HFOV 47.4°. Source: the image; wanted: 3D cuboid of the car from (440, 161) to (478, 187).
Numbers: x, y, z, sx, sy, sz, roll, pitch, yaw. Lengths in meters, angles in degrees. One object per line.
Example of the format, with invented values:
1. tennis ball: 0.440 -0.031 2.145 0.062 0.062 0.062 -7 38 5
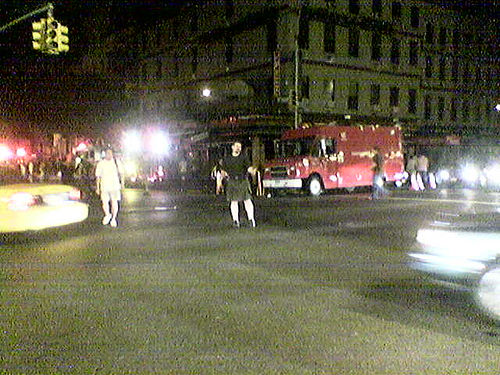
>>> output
1. car: 12.981 -0.711 35.501 2.092 1.265 2.172 -1 2 24

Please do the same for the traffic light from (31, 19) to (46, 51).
1. traffic light: -6.156 -4.522 16.754 0.371 0.973 0.400 -2 2 -22

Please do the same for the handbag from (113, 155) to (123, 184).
1. handbag: -3.419 -0.456 14.743 0.138 0.850 0.178 -3 13 34

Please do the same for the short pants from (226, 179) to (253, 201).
1. short pants: -0.284 0.051 13.929 0.623 0.683 0.419 1 16 0

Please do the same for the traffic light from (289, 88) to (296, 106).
1. traffic light: 2.133 -4.553 28.710 0.340 0.838 0.924 -1 2 4

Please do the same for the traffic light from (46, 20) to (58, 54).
1. traffic light: -5.856 -4.497 16.890 0.331 0.984 0.223 -3 2 -22

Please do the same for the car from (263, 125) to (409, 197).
1. car: 4.266 -1.295 27.626 8.518 3.216 3.423 -4 3 -44

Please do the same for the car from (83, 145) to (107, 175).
1. car: -15.086 -2.535 56.106 1.421 2.598 1.459 26 -4 -27

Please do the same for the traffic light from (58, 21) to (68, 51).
1. traffic light: -5.585 -4.515 17.100 0.171 0.842 0.403 -2 2 -1

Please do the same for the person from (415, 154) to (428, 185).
1. person: 9.470 -1.027 31.027 0.347 1.494 0.963 1 -2 -14

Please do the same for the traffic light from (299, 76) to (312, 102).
1. traffic light: 3.700 -6.753 38.719 0.422 1.809 1.108 0 3 36

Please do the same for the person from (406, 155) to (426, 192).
1. person: 8.946 -0.774 30.928 0.898 1.876 0.880 -1 2 12
